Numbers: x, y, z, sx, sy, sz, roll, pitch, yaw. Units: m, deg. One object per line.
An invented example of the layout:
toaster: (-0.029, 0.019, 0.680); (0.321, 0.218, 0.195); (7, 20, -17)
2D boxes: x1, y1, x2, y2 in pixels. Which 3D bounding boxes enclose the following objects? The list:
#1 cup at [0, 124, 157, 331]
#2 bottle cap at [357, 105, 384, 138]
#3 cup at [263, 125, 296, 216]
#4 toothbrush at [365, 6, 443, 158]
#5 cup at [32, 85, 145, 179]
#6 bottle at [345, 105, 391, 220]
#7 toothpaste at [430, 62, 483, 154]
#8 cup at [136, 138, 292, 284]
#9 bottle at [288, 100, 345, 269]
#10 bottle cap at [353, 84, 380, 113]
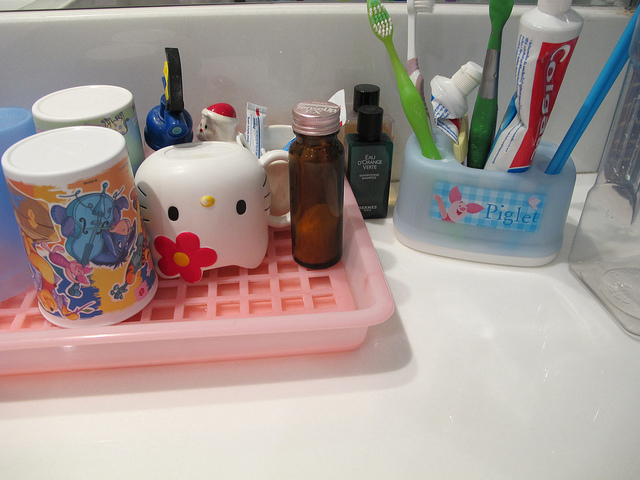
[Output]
cup: (-0.249, -0.039, 0.631); (0.180, 0.288, 0.207); (-9, 31, -18)
bottle cap: (0.069, -0.161, 0.666); (0.035, 0.036, 0.036); (7, 29, 9)
cup: (-0.056, -0.097, 0.661); (0.037, 0.110, 0.073); (-1, 29, -6)
toothbrush: (0.111, -0.219, 0.649); (0.026, 0.230, 0.015); (-17, -2, 10)
cup: (-0.283, -0.119, 0.607); (0.117, 0.125, 0.120); (2, 32, -1)
bottle: (0.065, -0.109, 0.680); (0.063, 0.161, 0.052); (-4, 35, -6)
toothpaste: (0.161, -0.169, 0.636); (0.072, 0.099, 0.050); (39, 24, 13)
cup: (-0.134, -0.038, 0.616); (0.203, 0.161, 0.154); (-6, 34, -16)
bottle: (-0.003, -0.062, 0.600); (0.067, 0.184, 0.067); (0, 25, 0)
bottle cap: (0.065, -0.204, 0.676); (0.038, 0.032, 0.040); (9, 47, 10)
